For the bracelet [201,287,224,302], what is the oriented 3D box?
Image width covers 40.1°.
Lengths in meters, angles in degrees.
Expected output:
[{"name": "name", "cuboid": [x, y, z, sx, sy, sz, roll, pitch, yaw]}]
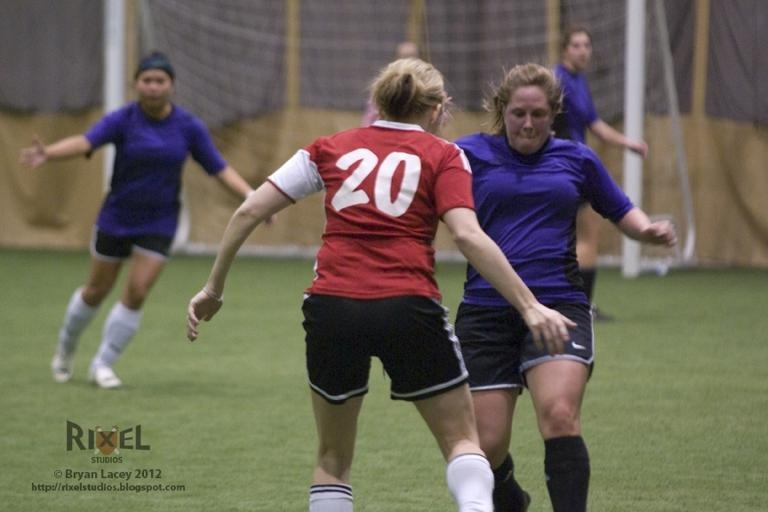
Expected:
[{"name": "bracelet", "cuboid": [-0.872, 0.197, 5.314, 0.095, 0.057, 0.073, 38, 3, -8]}]

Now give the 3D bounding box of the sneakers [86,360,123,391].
[{"name": "sneakers", "cuboid": [-2.015, 0.864, 7.563, 0.122, 0.133, 0.313, -9, 9, -34]}]
